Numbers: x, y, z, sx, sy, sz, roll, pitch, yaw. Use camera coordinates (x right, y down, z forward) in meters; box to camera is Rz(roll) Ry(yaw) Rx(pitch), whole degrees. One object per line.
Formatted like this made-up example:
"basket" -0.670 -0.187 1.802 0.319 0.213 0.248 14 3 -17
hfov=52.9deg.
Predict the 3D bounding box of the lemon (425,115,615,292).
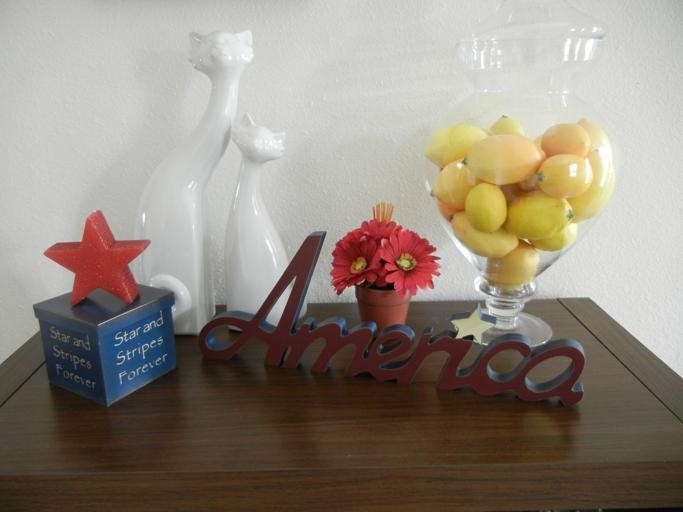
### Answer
"lemon" 0.299 -0.108 1.118 0.221 0.228 0.211 22 29 29

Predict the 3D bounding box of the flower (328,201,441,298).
"flower" 0.066 -0.014 1.127 0.161 0.199 0.074 5 54 20

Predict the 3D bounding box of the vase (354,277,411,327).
"vase" 0.070 0.072 1.160 0.075 0.060 0.074 -5 10 -34

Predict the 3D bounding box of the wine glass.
"wine glass" 0.293 -0.065 1.173 0.283 0.410 0.285 17 16 41

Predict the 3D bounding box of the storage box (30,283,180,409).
"storage box" -0.380 0.115 1.146 0.174 0.170 0.187 10 20 27
